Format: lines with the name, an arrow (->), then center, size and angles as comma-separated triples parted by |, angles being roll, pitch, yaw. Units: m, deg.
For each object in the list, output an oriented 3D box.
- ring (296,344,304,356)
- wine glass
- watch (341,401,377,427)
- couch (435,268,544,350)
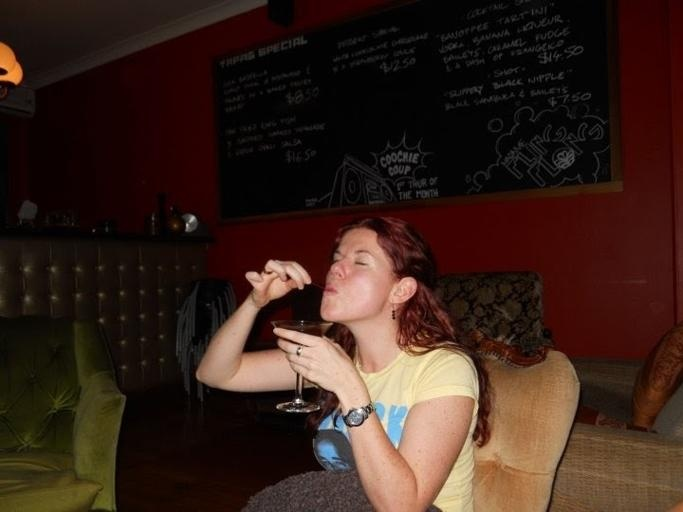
ring -> -0.139, 0.323, 1.826 | 0.030, 0.028, 0.032 | -3, 50, 3
wine glass -> -0.148, 0.473, 2.214 | 0.333, 0.423, 0.347 | 2, -5, 2
watch -> 0.056, 0.512, 1.705 | 0.078, 0.062, 0.076 | -24, -18, 12
couch -> 0.923, 0.299, 3.330 | 0.744, 0.562, 0.421 | 0, -3, 8
